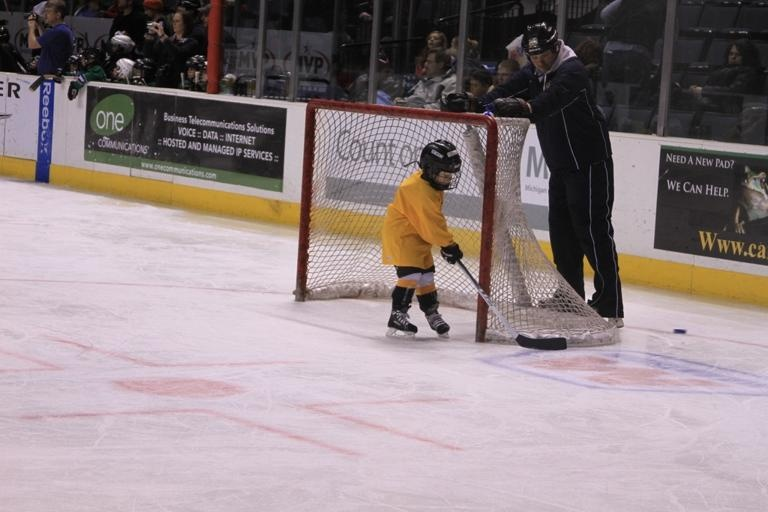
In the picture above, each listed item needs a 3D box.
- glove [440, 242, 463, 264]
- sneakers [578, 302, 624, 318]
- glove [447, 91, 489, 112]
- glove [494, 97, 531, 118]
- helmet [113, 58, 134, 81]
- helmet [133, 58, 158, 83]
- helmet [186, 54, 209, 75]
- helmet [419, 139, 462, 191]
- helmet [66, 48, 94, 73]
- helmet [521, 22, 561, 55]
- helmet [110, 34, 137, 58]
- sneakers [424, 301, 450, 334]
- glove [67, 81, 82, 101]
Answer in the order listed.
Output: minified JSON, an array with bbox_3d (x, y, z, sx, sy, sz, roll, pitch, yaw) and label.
[{"bbox_3d":[0.461,-0.022,7.200,0.128,0.157,0.152,4,11,14],"label":"glove"},{"bbox_3d":[1.602,0.369,7.739,0.223,0.113,0.159,2,8,24],"label":"sneakers"},{"bbox_3d":[0.568,-1.072,7.456,0.305,0.134,0.292,1,10,2],"label":"glove"},{"bbox_3d":[0.854,-0.999,7.124,0.206,0.077,0.147,10,12,22],"label":"glove"},{"bbox_3d":[-3.202,-2.327,13.244,0.196,0.270,0.494,-9,14,-41],"label":"helmet"},{"bbox_3d":[-2.905,-2.241,13.031,0.288,0.291,0.347,6,-4,-23],"label":"helmet"},{"bbox_3d":[-2.209,-2.272,12.597,0.191,0.213,0.446,-3,10,-20],"label":"helmet"},{"bbox_3d":[0.372,-0.605,7.160,0.218,0.330,0.221,-6,13,-31],"label":"helmet"},{"bbox_3d":[-3.806,-2.446,13.312,0.404,0.298,0.184,10,14,41],"label":"helmet"},{"bbox_3d":[1.105,-1.513,7.460,0.244,0.208,0.258,-3,-9,16],"label":"helmet"},{"bbox_3d":[-3.364,-2.723,13.729,0.310,0.331,0.394,-1,11,-12],"label":"helmet"},{"bbox_3d":[0.347,0.415,7.313,0.110,0.115,0.274,-32,41,-3],"label":"sneakers"},{"bbox_3d":[-3.840,-2.056,13.200,0.140,0.103,0.306,-28,-1,-28],"label":"glove"}]
